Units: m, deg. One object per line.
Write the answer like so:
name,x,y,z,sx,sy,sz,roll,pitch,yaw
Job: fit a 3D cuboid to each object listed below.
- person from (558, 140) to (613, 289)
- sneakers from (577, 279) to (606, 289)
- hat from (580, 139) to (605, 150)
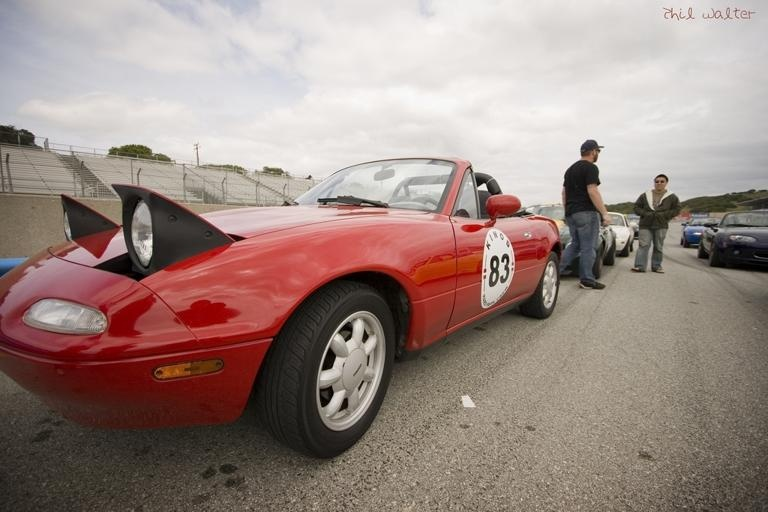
person,3.138,-0.649,5.890,0.549,2.272,0.905,1,9,2
sneakers,3.240,0.432,5.909,0.426,0.152,0.151,0,10,11
hat,3.086,-1.667,5.585,0.211,0.171,0.572,5,9,24
